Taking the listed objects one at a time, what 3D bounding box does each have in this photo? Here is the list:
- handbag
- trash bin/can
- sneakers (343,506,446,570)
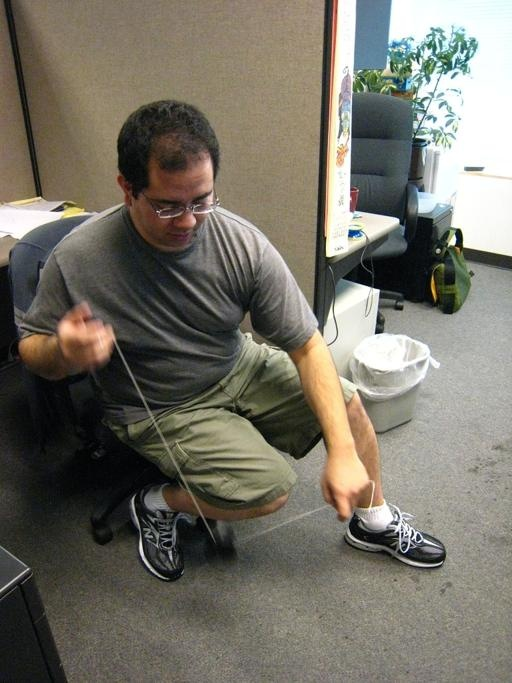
[{"bbox_3d":[1.098,-0.422,3.063,0.218,0.453,0.409,0,23,30],"label":"handbag"},{"bbox_3d":[0.481,0.159,2.032,0.315,0.289,0.286,-2,25,1],"label":"trash bin/can"},{"bbox_3d":[0.390,0.538,1.510,0.273,0.110,0.127,11,36,12],"label":"sneakers"}]
